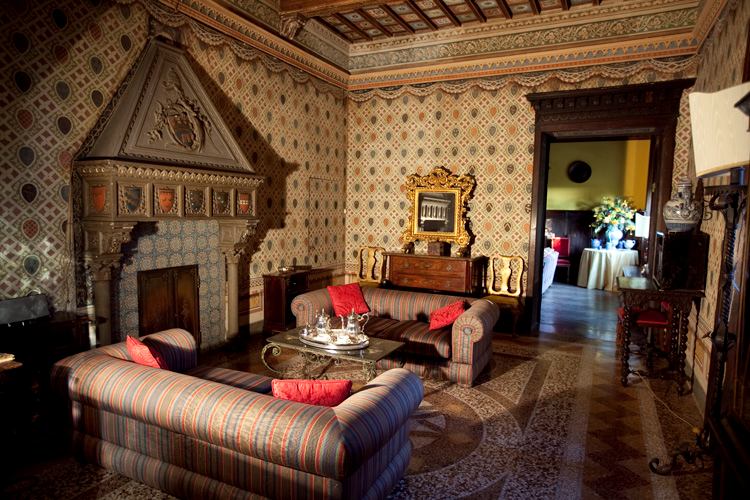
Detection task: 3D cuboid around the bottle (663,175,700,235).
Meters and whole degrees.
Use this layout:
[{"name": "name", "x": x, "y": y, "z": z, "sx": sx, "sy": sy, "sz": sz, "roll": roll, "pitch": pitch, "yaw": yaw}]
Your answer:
[{"name": "bottle", "x": 4.191, "y": -0.616, "z": 6.555, "sx": 0.455, "sy": 0.653, "sz": 0.454, "roll": -3, "pitch": 12, "yaw": 1}]

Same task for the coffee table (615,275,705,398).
[{"name": "coffee table", "x": 4.108, "y": 1.130, "z": 7.273, "sx": 0.917, "sy": 1.228, "sz": 1.653, "roll": 1, "pitch": 1, "yaw": 23}]

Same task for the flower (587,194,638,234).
[{"name": "flower", "x": 6.430, "y": -0.945, "z": 13.002, "sx": 1.043, "sy": 0.810, "sz": 1.187, "roll": 1, "pitch": 16, "yaw": 23}]

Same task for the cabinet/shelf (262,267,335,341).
[{"name": "cabinet/shelf", "x": -1.588, "y": 0.914, "z": 8.863, "sx": 0.471, "sy": 1.055, "sz": 1.251, "roll": 1, "pitch": 2, "yaw": 11}]

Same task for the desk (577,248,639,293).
[{"name": "desk", "x": 6.213, "y": 0.518, "z": 13.185, "sx": 1.188, "sy": 0.900, "sz": 1.259, "roll": 8, "pitch": 5, "yaw": 24}]

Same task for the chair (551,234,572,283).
[{"name": "chair", "x": 5.433, "y": 0.247, "z": 14.082, "sx": 0.588, "sy": 1.263, "sz": 0.598, "roll": 4, "pitch": 13, "yaw": 19}]

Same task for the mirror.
[{"name": "mirror", "x": 1.305, "y": -0.842, "z": 9.565, "sx": 1.602, "sy": 1.836, "sz": 0.205, "roll": 1, "pitch": 1, "yaw": 22}]
